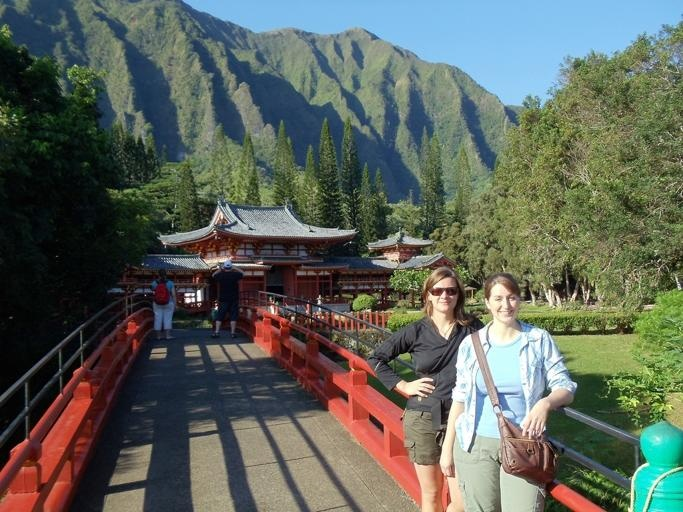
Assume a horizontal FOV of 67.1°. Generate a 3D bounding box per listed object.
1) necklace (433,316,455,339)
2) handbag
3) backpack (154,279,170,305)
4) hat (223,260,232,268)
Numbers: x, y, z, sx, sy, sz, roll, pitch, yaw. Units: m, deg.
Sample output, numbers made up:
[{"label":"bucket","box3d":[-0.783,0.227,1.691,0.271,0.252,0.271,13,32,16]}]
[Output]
[{"label":"necklace","box3d":[0.797,0.548,4.003,0.127,0.142,0.050,-5,-3,4]},{"label":"handbag","box3d":[1.149,1.195,3.202,0.344,0.438,0.179,18,-38,-17]},{"label":"backpack","box3d":[-4.419,0.882,12.634,0.357,0.645,0.472,-1,4,-20]},{"label":"hat","box3d":[-2.668,0.160,12.024,0.140,0.153,0.222,0,-4,-8]}]
